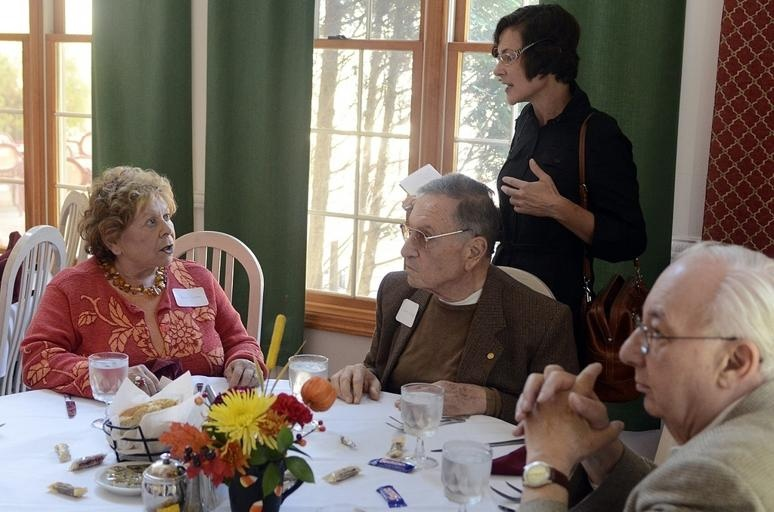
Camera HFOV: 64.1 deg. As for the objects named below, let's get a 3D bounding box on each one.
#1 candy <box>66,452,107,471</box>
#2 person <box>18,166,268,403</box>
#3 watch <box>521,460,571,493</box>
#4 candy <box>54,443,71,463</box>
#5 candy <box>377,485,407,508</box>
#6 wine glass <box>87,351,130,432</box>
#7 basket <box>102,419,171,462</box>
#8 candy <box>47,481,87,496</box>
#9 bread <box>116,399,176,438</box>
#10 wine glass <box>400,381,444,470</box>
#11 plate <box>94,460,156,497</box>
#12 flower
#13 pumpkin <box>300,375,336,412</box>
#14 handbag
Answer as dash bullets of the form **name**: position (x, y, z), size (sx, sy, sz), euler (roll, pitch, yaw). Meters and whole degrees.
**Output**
- **candy**: position (-0.865, 0.602, 1.788), size (0.077, 0.024, 0.038), euler (-16, 22, -32)
- **person**: position (-0.999, 0.135, 2.553), size (0.658, 0.865, 0.925), euler (-2, -3, 36)
- **watch**: position (0.412, 0.574, 1.612), size (0.101, 0.065, 0.103), euler (17, -2, -31)
- **candy**: position (-0.953, 0.583, 1.816), size (0.029, 0.052, 0.038), euler (-21, 3, -10)
- **candy**: position (0.014, 0.667, 1.709), size (0.057, 0.028, 0.088), euler (-1, 7, -28)
- **wine glass**: position (-0.875, 0.427, 1.954), size (0.123, 0.215, 0.125), euler (5, -6, -44)
- **basket**: position (-0.722, 0.510, 1.769), size (0.143, 0.080, 0.132), euler (2, 0, 12)
- **candy**: position (-0.874, 0.638, 1.691), size (0.113, 0.024, 0.038), euler (4, 7, 13)
- **bread**: position (-0.695, 0.455, 1.760), size (0.085, 0.032, 0.113), euler (-23, -3, 29)
- **wine glass**: position (0.103, 0.511, 1.894), size (0.124, 0.229, 0.180), euler (3, 6, 1)
- **plate**: position (-0.726, 0.613, 1.729), size (0.162, 0.036, 0.171), euler (5, 15, -14)
- **flower**: position (-0.351, 0.459, 1.632), size (0.380, 0.446, 0.357), euler (-17, 18, -24)
- **pumpkin**: position (-0.192, 0.391, 1.782), size (0.096, 0.099, 0.095), euler (19, 35, -21)
- **handbag**: position (0.827, 0.306, 2.233), size (0.235, 0.481, 0.468), euler (-2, 7, 10)
